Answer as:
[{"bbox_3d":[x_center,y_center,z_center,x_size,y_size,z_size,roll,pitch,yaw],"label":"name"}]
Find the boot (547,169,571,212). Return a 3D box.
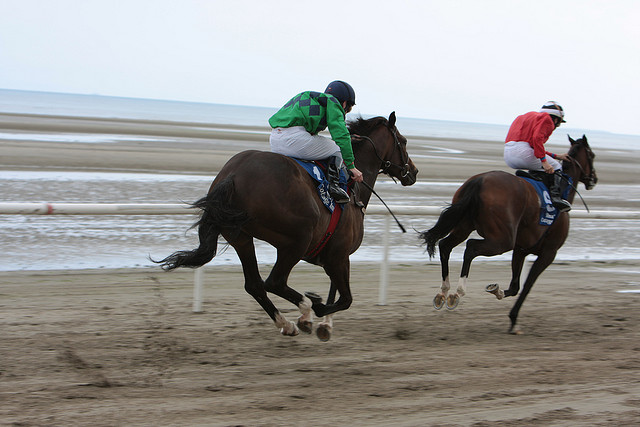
[{"bbox_3d":[2.232,-0.194,5.187,0.215,0.335,0.286,7,13,8],"label":"boot"}]

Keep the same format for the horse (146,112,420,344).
[{"bbox_3d":[-0.084,0.083,4.654,1.471,1.891,2.036,8,13,14],"label":"horse"}]

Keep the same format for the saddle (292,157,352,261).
[{"bbox_3d":[0.064,-0.051,4.205,0.180,0.652,0.525,5,6,-27],"label":"saddle"}]

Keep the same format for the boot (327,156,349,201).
[{"bbox_3d":[0.140,-0.266,4.134,0.181,0.322,0.174,6,13,0],"label":"boot"}]

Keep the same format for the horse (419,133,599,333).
[{"bbox_3d":[1.791,0.111,5.423,0.840,1.838,3.220,0,-7,43],"label":"horse"}]
